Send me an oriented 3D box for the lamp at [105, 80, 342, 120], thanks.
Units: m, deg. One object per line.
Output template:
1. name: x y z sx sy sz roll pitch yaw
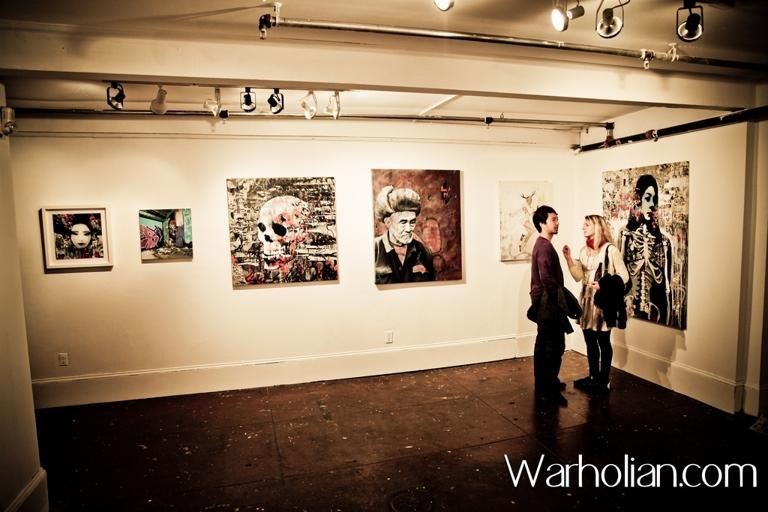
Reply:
1. lamp: -1.909 -1.845 6.483 2.774 0.400 1.319 -2 8 -7

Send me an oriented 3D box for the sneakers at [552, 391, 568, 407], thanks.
1. sneakers: 2.251 1.823 6.728 0.140 0.142 0.126 11 -5 -22

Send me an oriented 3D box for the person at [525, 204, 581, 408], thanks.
1. person: 2.192 0.598 6.876 0.657 2.454 0.673 3 8 29

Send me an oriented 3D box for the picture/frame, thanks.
1. picture/frame: -4.024 -0.271 6.866 0.782 0.922 0.066 -3 10 -5
